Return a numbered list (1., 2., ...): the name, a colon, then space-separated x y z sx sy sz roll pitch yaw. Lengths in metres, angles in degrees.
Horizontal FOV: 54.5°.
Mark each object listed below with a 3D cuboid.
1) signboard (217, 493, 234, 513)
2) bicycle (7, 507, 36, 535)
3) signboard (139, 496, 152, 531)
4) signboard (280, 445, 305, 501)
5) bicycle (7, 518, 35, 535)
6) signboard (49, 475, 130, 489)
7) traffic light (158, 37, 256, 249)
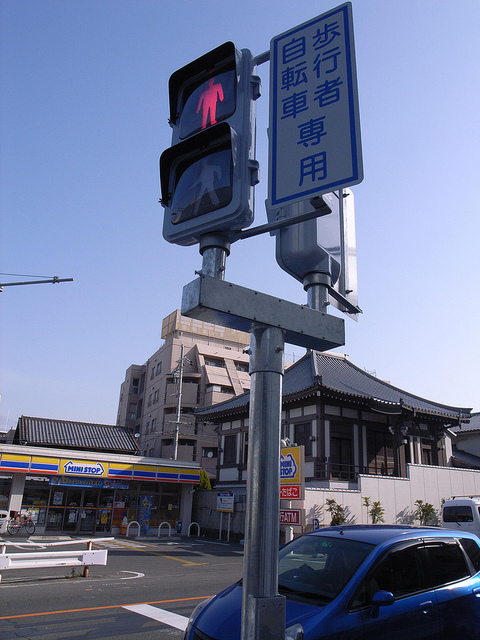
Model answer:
1. signboard: -0.754 9.794 25.107 0.424 0.955 1.299 12 -21 -33
2. bicycle: -10.894 10.119 23.275 0.711 1.051 1.498 -26 -42 26
3. signboard: -5.449 11.074 26.780 0.759 1.837 0.355 8 -18 -24
4. signboard: 1.798 5.166 15.821 0.447 1.692 1.305 5 -18 -15
5. bicycle: -10.843 10.247 23.218 1.087 0.839 0.572 1 -4 -26
6. signboard: -8.040 8.657 25.009 4.026 0.636 0.740 10 -20 -24
7. traffic light: -0.166 -0.897 2.444 0.510 1.078 0.326 -10 -26 23
